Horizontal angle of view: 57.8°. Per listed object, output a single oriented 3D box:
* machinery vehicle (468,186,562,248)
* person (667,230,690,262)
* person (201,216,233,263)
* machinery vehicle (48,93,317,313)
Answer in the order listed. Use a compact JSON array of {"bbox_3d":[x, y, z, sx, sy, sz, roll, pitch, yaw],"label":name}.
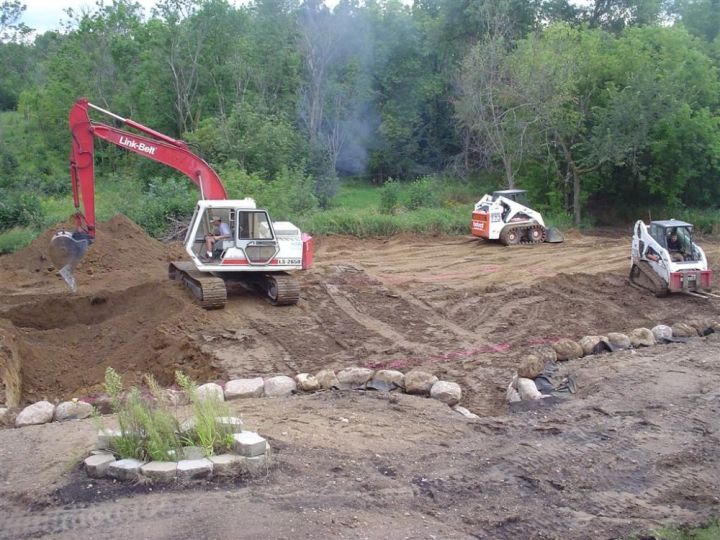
[{"bbox_3d":[6.063,-2.082,25.681,3.160,1.812,2.051,-6,13,-20],"label":"machinery vehicle"},{"bbox_3d":[8.586,-0.666,17.550,0.472,0.914,0.577,-16,14,12],"label":"person"},{"bbox_3d":[-3.586,-0.784,16.049,0.907,1.276,0.849,2,-10,-7],"label":"person"},{"bbox_3d":[-4.301,-1.397,16.008,5.814,4.345,2.944,-1,8,-19],"label":"machinery vehicle"}]
